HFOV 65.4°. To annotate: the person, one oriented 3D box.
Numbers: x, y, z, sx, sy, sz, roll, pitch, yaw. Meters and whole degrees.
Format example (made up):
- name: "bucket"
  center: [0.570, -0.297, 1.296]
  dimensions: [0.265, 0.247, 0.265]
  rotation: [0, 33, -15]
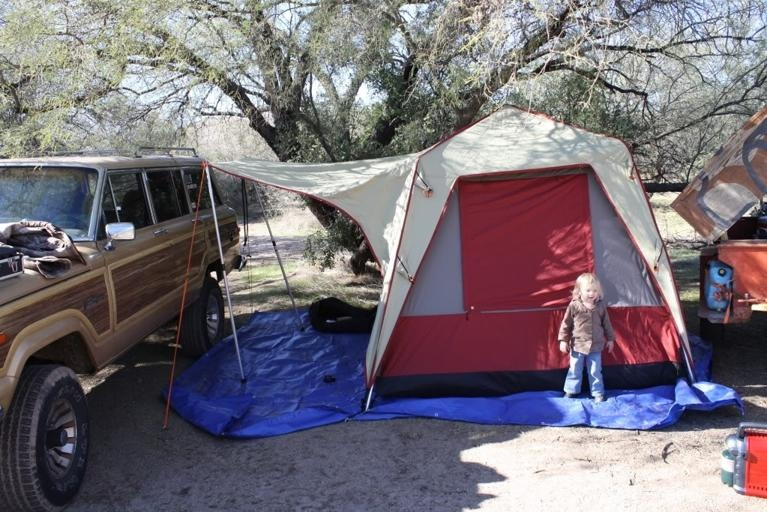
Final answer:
- name: "person"
  center: [2.478, 0.998, 7.350]
  dimensions: [0.625, 1.561, 0.273]
  rotation: [2, 6, 20]
